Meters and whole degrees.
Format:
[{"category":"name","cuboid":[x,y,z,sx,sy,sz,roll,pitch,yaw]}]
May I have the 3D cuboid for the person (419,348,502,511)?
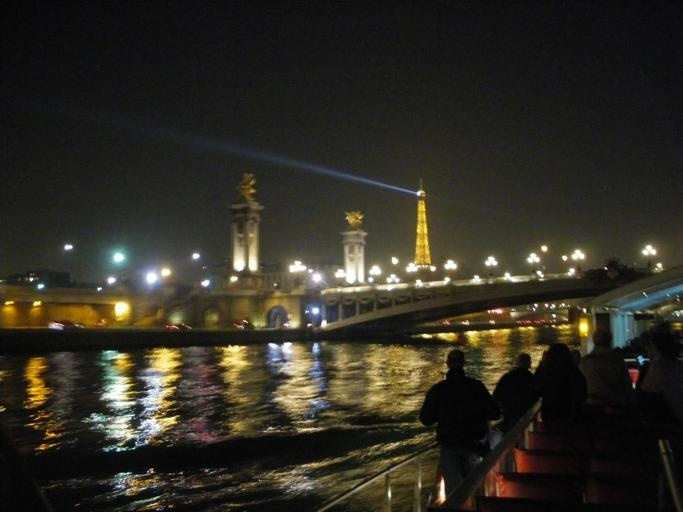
[{"category":"person","cuboid":[1.682,2.612,9.033,1.180,2.518,0.803,-2,10,13]}]
